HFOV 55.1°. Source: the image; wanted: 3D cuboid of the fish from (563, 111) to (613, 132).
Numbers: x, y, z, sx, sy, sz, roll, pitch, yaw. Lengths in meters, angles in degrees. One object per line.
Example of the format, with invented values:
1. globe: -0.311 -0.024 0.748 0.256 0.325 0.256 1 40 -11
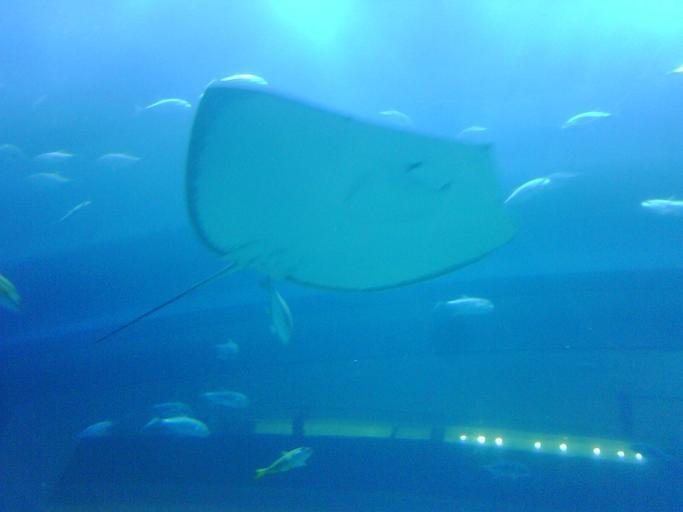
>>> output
1. fish: 1.512 -0.838 4.051 0.311 0.099 0.117 -13 -58 -1
